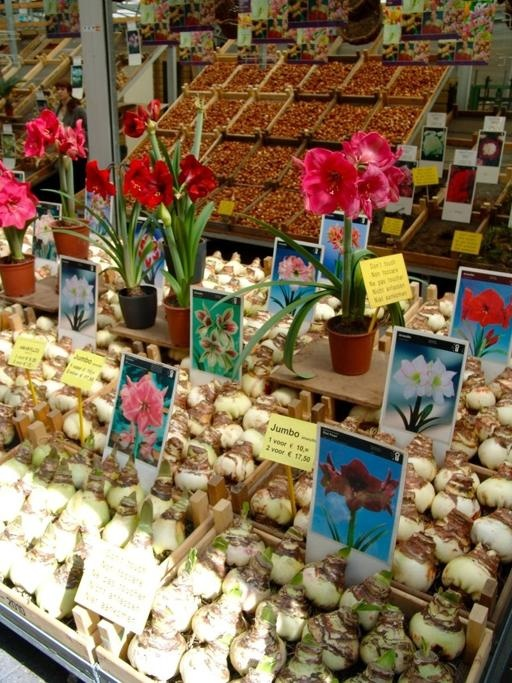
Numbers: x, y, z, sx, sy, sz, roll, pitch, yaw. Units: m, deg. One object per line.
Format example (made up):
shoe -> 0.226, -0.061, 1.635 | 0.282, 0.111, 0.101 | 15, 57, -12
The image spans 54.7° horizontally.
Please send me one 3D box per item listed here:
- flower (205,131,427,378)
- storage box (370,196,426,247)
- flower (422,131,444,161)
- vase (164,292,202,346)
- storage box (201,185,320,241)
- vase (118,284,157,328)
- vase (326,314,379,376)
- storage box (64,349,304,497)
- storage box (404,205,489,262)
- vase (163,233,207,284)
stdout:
flower -> 0.202, -0.262, 1.498 | 0.609, 0.667, 0.587 | -8, 1, -10
storage box -> 0.921, -0.761, 3.308 | 0.295, 0.106, 0.421 | 13, 42, 30
flower -> 1.163, -1.285, 3.241 | 0.164, 0.168, 0.085 | 10, 30, 43
vase -> -0.290, -0.085, 2.064 | 0.178, 0.175, 0.172 | 0, 17, 2
storage box -> 0.147, -0.999, 3.735 | 0.681, 0.185, 0.638 | 15, 37, 24
vase -> -0.503, -0.158, 2.136 | 0.170, 0.147, 0.187 | 0, 15, -1
vase -> 0.341, 0.004, 1.729 | 0.195, 0.152, 0.198 | 4, 23, 13
storage box -> -0.244, 0.238, 1.631 | 0.546, 0.197, 0.504 | 15, 32, 23
storage box -> 1.331, -0.811, 3.405 | 0.502, 0.128, 0.557 | 21, 20, 27
vase -> -0.301, -0.384, 2.257 | 0.219, 0.223, 0.219 | -1, 16, -6
